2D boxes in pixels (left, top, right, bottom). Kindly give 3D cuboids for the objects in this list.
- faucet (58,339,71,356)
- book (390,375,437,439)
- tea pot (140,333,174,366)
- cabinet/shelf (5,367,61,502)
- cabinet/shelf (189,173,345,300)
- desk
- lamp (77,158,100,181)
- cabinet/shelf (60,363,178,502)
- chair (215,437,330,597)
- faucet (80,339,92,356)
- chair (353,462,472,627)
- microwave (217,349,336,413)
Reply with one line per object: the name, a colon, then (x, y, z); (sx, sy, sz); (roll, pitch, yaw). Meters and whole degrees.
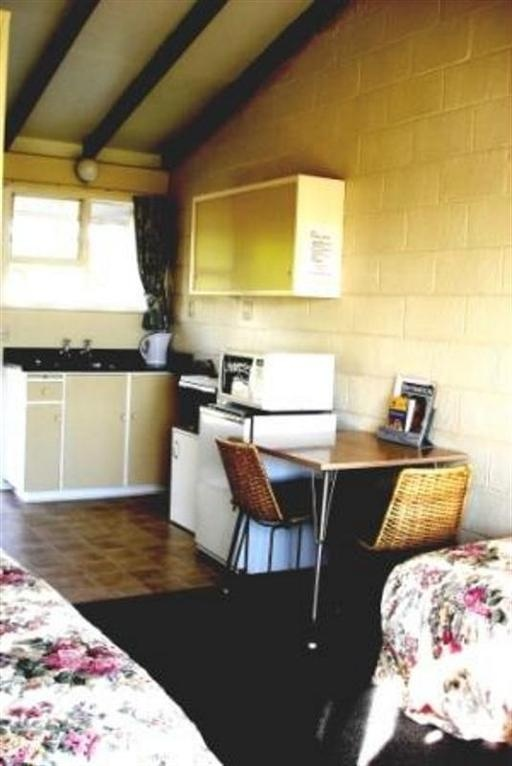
faucet: (-1.714, -0.309, 5.402); (0.124, 0.176, 0.081); (1, 3, -32)
book: (0.810, 0.129, 3.080); (0.263, 0.280, 0.066); (6, -9, 44)
tea pot: (-0.929, -0.305, 5.536); (0.278, 0.325, 0.473); (3, 2, -9)
cabinet/shelf: (-1.843, 0.404, 4.762); (0.631, 1.039, 0.273); (4, 2, 21)
cabinet/shelf: (0.043, -0.957, 4.142); (0.354, 0.708, 1.198); (-6, 10, -39)
desk: (0.503, 0.545, 2.982); (0.843, 0.802, 1.068); (2, 4, -15)
lamp: (-1.510, -1.869, 5.326); (0.185, 0.182, 0.207); (2, 3, -17)
cabinet/shelf: (-1.198, 0.413, 5.105); (0.403, 1.011, 1.059); (-1, -4, 40)
chair: (0.068, 0.692, 3.029); (0.484, 0.777, 0.435); (-3, 8, -39)
faucet: (-1.558, -0.308, 5.501); (0.114, 0.167, 0.068); (2, 2, -17)
chair: (0.689, 0.548, 2.653); (0.404, 0.389, 0.341); (4, 1, -15)
microwave: (0.081, -0.002, 3.476); (0.700, 0.342, 0.413); (3, 2, 8)
